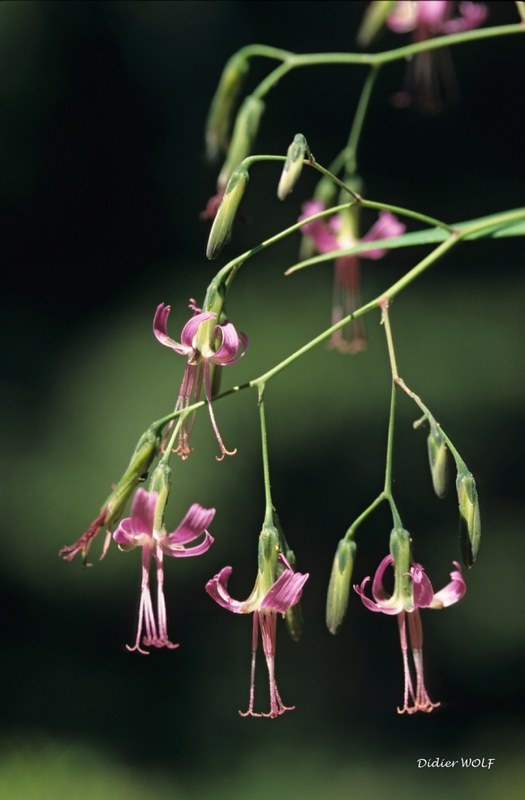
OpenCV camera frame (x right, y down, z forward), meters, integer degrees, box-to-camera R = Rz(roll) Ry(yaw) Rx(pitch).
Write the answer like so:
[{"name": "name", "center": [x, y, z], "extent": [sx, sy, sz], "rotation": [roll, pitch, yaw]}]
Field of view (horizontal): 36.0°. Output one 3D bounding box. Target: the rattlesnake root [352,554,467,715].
[{"name": "rattlesnake root", "center": [0.169, 0.260, 0.899], "extent": [0.100, 0.173, 0.103], "rotation": [-5, -2, 6]}]
